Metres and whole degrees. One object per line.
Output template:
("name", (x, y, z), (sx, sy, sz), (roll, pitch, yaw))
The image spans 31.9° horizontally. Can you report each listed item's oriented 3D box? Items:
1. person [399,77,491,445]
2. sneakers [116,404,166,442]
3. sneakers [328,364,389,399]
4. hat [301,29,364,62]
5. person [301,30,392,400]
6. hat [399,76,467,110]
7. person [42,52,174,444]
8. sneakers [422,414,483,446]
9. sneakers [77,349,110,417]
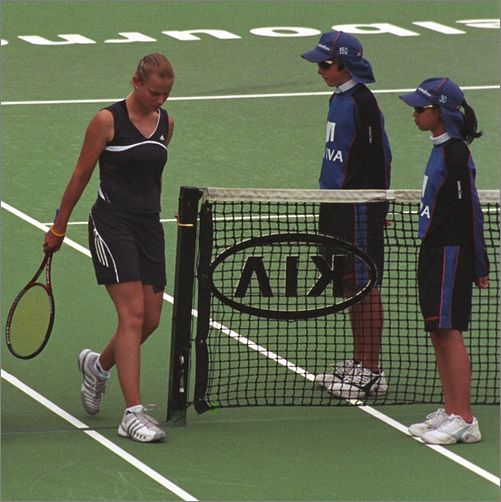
("person", (1.172, 0.065, 5.161), (0.476, 2.089, 0.718), (-2, 16, -16))
("sneakers", (-0.634, 0.991, 5.098), (0.174, 0.171, 0.377), (-3, 5, -39))
("sneakers", (0.721, 0.887, 5.938), (0.523, 0.222, 0.181), (-3, -10, -33))
("hat", (0.567, -1.397, 6.002), (0.438, 0.193, 0.270), (4, 28, 6))
("person", (0.682, -0.245, 5.885), (0.639, 2.368, 1.001), (2, 16, -2))
("hat", (1.091, -0.937, 5.166), (0.395, 0.172, 0.250), (4, 28, 3))
("person", (-0.701, -0.021, 5.188), (0.750, 2.230, 0.859), (-10, 20, -37))
("sneakers", (1.194, 1.059, 5.195), (0.434, 0.176, 0.135), (0, -2, -8))
("sneakers", (-0.981, 0.803, 5.495), (0.219, 0.415, 0.152), (-23, -16, 39))
